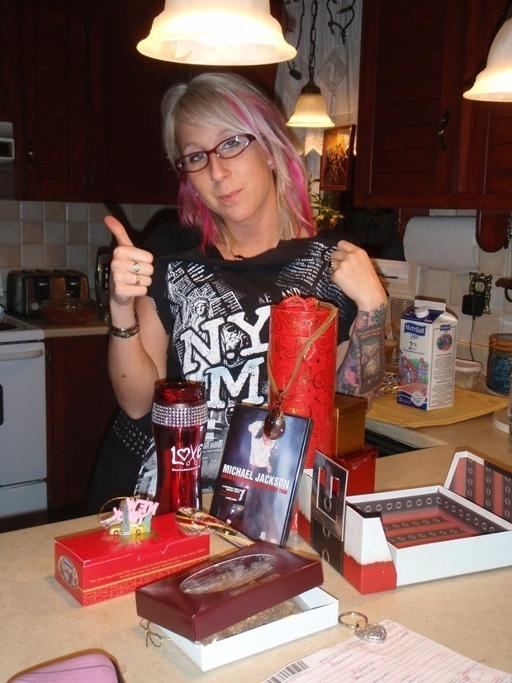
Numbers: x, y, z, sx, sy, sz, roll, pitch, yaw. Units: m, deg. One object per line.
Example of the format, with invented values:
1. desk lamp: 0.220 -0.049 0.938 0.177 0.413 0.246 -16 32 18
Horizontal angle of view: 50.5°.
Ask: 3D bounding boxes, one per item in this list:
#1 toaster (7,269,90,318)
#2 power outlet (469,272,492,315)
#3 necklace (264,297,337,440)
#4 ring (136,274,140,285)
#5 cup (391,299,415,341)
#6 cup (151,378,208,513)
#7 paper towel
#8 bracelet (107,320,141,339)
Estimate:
1. toaster: -1.049 -0.257 2.799 0.392 0.257 0.286 -6 13 -38
2. power outlet: 0.848 -0.185 2.049 0.081 0.157 0.046 4 6 39
3. necklace: 0.056 0.049 0.688 0.090 0.209 0.156 0 5 7
4. ring: -0.180 -0.095 0.825 0.006 0.016 0.011 0 -24 -3
5. cup: 0.555 -0.084 2.076 0.081 0.158 0.191 1 5 15
6. cup: -0.094 0.139 0.671 0.064 0.162 0.056 -1 5 -10
7. paper towel: 0.738 -0.395 2.037 0.322 0.220 0.235 2 -6 -12
8. bracelet: -0.233 -0.021 0.954 0.052 0.031 0.044 -1 5 -14
